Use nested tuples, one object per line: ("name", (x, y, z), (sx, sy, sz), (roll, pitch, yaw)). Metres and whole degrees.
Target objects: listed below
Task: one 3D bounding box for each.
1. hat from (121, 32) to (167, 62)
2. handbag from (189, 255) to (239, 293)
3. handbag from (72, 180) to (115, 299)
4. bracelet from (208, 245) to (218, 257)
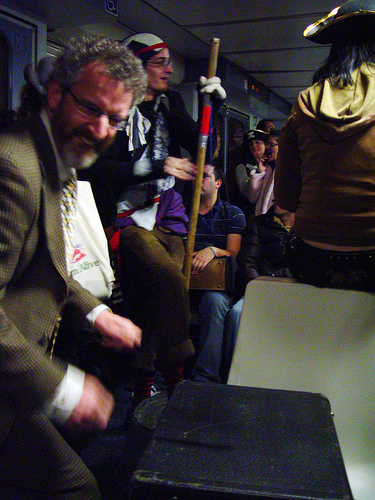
("hat", (-0.069, -0.331, 0.631), (0.046, 0.036, 0.063), (-10, 14, -25))
("handbag", (0.066, 0.065, 0.959), (0.104, 0.079, 0.083), (3, 30, 10))
("handbag", (-0.151, -0.018, 0.615), (0.055, 0.175, 0.143), (-13, -11, -10))
("bracelet", (0.065, 0.005, 1.020), (0.007, 0.024, 0.022), (-17, 37, -7))
